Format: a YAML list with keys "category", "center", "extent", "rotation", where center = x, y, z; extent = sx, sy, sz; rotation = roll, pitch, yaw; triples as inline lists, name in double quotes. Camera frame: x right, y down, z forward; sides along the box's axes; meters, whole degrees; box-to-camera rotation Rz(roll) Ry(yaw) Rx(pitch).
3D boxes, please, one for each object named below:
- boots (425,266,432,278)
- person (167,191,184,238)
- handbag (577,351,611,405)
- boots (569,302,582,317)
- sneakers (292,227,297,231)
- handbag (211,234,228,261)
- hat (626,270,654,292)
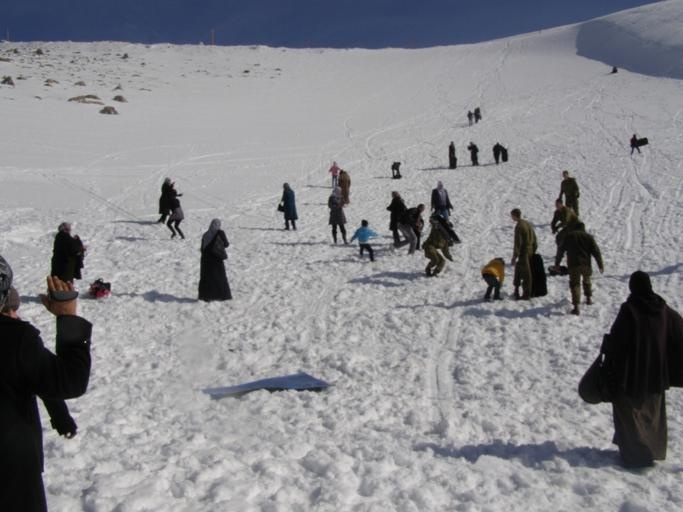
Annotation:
- category: "boots"
  center: [2.440, 0.472, 19.117]
  extent: [0.159, 0.327, 0.074]
  rotation: [1, -2, 3]
- category: "person"
  center: [-5.695, -1.395, 23.321]
  extent: [0.550, 1.554, 1.479]
  rotation: [-3, 7, -14]
- category: "handbag"
  center: [4.837, 2.417, 13.039]
  extent: [0.393, 1.133, 0.469]
  rotation: [6, -1, 26]
- category: "boots"
  center: [5.771, 1.305, 16.830]
  extent: [0.221, 0.314, 0.234]
  rotation: [1, 7, 20]
- category: "sneakers"
  center: [-1.634, -0.939, 23.783]
  extent: [0.145, 0.084, 0.149]
  rotation: [-4, 21, -17]
- category: "handbag"
  center: [-3.120, -0.217, 17.802]
  extent: [0.245, 0.610, 0.454]
  rotation: [8, 10, -37]
- category: "hat"
  center: [5.675, 0.524, 12.934]
  extent: [0.365, 0.432, 0.423]
  rotation: [-16, -22, 21]
